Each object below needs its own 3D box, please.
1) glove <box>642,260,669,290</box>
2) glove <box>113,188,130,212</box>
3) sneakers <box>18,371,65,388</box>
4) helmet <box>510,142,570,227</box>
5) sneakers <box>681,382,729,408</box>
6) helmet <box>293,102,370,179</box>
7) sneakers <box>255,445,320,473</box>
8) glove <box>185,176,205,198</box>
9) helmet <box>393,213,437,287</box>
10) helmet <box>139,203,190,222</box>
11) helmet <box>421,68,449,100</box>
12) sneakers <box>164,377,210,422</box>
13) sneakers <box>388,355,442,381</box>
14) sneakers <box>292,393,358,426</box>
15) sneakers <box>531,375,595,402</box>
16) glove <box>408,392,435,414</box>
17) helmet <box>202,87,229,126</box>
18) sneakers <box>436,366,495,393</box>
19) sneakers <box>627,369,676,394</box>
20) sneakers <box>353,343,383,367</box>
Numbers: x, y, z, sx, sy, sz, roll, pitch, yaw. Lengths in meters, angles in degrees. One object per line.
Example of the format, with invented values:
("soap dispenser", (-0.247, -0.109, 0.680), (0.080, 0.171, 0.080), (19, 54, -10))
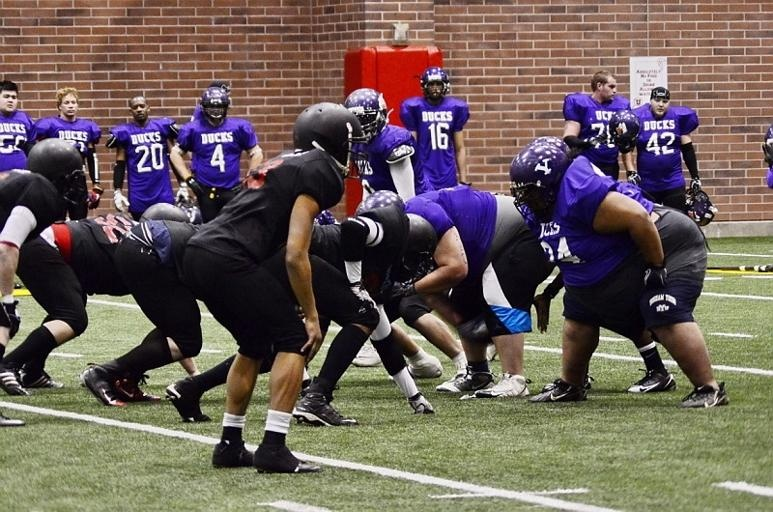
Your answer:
("glove", (1.753, 0.124, 7.110), (0.201, 0.253, 0.145), (0, 1, -12))
("glove", (-3.210, -0.656, 13.095), (0.228, 0.095, 0.356), (15, 33, -10))
("sneakers", (-2.530, 0.894, 7.978), (0.347, 0.135, 0.113), (2, 5, -19))
("helmet", (1.075, -0.506, 7.360), (0.324, 0.563, 0.474), (5, 6, 36))
("sneakers", (2.141, 0.906, 7.188), (0.374, 0.155, 0.130), (-4, -2, -8))
("helmet", (-0.371, -0.659, 6.234), (0.451, 0.391, 0.357), (-1, 8, -19))
("sneakers", (-0.518, 1.119, 6.051), (0.434, 0.160, 0.137), (1, -5, -7))
("glove", (-2.161, -0.768, 12.260), (0.098, 0.234, 0.172), (-41, 27, 2))
("helmet", (0.182, -0.035, 7.115), (0.267, 0.455, 0.311), (1, 4, 0))
("helmet", (-1.572, -0.293, 7.681), (0.218, 0.170, 0.236), (-14, -8, 24))
("helmet", (0.502, -1.814, 11.516), (0.295, 0.278, 0.344), (-2, 7, -2))
("sneakers", (-1.285, 0.920, 7.040), (0.273, 0.272, 0.162), (1, 4, -7))
("sneakers", (0.216, 0.842, 8.424), (0.384, 0.121, 0.248), (10, 39, -7))
("sneakers", (-0.348, 0.987, 7.054), (0.513, 0.263, 0.169), (7, -7, -6))
("sneakers", (1.201, 0.923, 7.582), (0.496, 0.181, 0.158), (1, -5, -5))
("glove", (0.220, 0.956, 7.223), (0.117, 0.082, 0.234), (7, 4, -14))
("helmet", (-1.962, -1.710, 12.370), (0.343, 0.358, 0.418), (-2, 19, -11))
("sneakers", (0.589, 0.896, 7.925), (0.482, 0.200, 0.161), (-2, -7, -5))
("sneakers", (1.898, 0.884, 7.775), (0.429, 0.175, 0.134), (-4, -2, -13))
("sneakers", (-0.155, 0.828, 9.039), (0.142, 0.163, 0.395), (-2, -11, 15))
